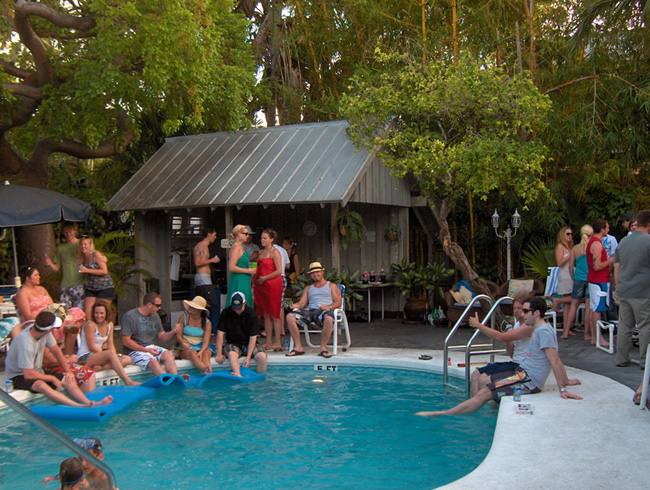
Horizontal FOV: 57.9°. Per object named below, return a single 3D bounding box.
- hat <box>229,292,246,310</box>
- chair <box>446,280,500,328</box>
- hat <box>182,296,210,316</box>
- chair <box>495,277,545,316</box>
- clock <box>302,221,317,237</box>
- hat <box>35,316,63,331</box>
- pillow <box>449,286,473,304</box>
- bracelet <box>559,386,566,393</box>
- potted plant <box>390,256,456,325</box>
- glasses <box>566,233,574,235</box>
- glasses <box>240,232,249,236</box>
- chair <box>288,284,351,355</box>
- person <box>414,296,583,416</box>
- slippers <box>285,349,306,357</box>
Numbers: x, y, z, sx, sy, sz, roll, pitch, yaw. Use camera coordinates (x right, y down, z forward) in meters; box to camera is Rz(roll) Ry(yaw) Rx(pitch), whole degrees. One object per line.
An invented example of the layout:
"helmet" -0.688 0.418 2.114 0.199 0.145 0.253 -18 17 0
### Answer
"hat" -1.369 0.859 9.224 0.219 0.280 0.272 3 8 -11
"chair" 2.831 1.227 12.108 0.804 0.993 0.927 -5 -17 29
"hat" -2.040 0.928 9.316 0.288 0.248 0.500 4 8 -4
"chair" 3.972 1.129 12.184 0.852 1.086 0.966 2 -16 33
"clock" -0.385 -0.411 14.627 0.332 0.360 0.081 -5 -5 24
"hat" -3.355 1.003 7.158 0.260 0.184 0.075 -26 -27 -29
"pillow" 2.840 1.051 12.153 0.367 0.375 0.123 15 -8 34
"bracelet" 2.712 1.655 6.700 0.071 0.075 0.045 3 -7 -44
"potted plant" 2.223 1.229 13.947 1.036 1.366 1.245 36 -21 -35
"glasses" 4.838 -0.236 11.637 0.159 0.052 0.158 -1 -2 36
"glasses" -1.465 -0.217 10.638 0.129 0.041 0.136 -1 -3 8
"chair" -0.081 1.299 10.222 1.053 1.207 1.059 -1 -2 -18
"person" 2.174 1.321 7.153 1.976 1.245 1.044 -5 -8 7
"slippers" -0.496 1.807 9.813 0.260 0.080 0.101 6 -7 -34
